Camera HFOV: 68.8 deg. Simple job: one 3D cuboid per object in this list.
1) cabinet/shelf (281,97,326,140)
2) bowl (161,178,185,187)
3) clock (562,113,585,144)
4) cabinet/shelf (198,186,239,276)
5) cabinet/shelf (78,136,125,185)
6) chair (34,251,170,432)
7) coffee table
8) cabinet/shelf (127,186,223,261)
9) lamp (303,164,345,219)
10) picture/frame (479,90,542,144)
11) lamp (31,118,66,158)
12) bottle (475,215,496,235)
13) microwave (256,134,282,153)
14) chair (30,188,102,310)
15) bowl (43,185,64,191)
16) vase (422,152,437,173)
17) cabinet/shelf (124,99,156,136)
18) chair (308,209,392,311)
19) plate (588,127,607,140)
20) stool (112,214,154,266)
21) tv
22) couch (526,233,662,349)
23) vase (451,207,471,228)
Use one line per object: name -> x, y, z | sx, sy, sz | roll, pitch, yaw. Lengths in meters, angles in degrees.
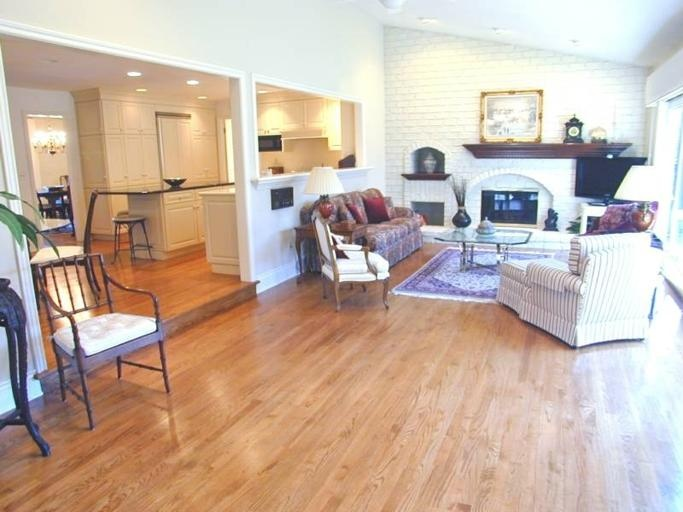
cabinet/shelf -> -0.694, -2.603, 9.360 | 0.747, 0.627, 0.285 | 2, 6, 24
bowl -> -2.563, -1.097, 7.529 | 0.359, 0.135, 0.351 | -3, 7, 0
clock -> 3.855, -2.097, 8.256 | 0.311, 0.462, 0.285 | 3, 16, 21
cabinet/shelf -> -1.522, -0.283, 6.438 | 0.717, 1.059, 0.297 | 9, 20, 38
cabinet/shelf -> -4.077, -1.656, 8.502 | 0.616, 1.139, 0.604 | 8, 16, 28
chair -> -1.863, 0.591, 3.826 | 0.837, 1.091, 0.804 | 3, 14, 11
coffee table -> 1.944, -0.192, 6.802 | 0.974, 0.399, 0.957 | 0, 8, 14
cabinet/shelf -> -2.495, -0.611, 7.807 | 0.601, 0.942, 1.944 | 4, 13, 23
lamp -> -0.202, -0.813, 6.598 | 0.434, 0.704, 0.734 | 2, 15, 18
picture/frame -> 2.986, -2.441, 8.675 | 1.069, 0.916, 0.079 | 2, 10, 24
lamp -> -6.743, -2.719, 11.422 | 0.672, 0.816, 0.964 | -11, 17, -29
bottle -> 1.997, -0.383, 6.876 | 0.230, 0.175, 0.292 | -4, 14, -5
microwave -> -1.379, -2.233, 9.894 | 0.587, 0.341, 0.203 | 3, 16, 24
chair -> -2.858, -0.028, 5.167 | 0.642, 0.990, 0.578 | -7, 0, -31
bowl -> -6.478, -1.514, 11.218 | 0.364, 0.080, 0.355 | 0, 3, 0
vase -> 1.699, -1.764, 9.456 | 0.246, 0.378, 0.432 | -2, 14, 3
cabinet/shelf -> -3.598, -2.469, 8.853 | 0.275, 0.597, 0.733 | 3, 8, 17
chair -> -0.003, 0.016, 6.102 | 1.051, 1.364, 0.958 | -4, 10, -13
plate -> 4.169, -1.975, 8.128 | 0.215, 0.207, 0.218 | 7, 16, 42
stool -> -3.053, -0.222, 7.342 | 0.591, 0.777, 0.542 | 4, 29, 1
tv -> 3.892, -1.097, 7.170 | 0.307, 0.798, 1.134 | -26, 24, -38
couch -> 2.368, 0.280, 4.997 | 1.021, 1.084, 1.098 | -3, 10, -13
vase -> 1.803, -0.541, 7.516 | 0.232, 0.346, 0.468 | 1, 15, 15
